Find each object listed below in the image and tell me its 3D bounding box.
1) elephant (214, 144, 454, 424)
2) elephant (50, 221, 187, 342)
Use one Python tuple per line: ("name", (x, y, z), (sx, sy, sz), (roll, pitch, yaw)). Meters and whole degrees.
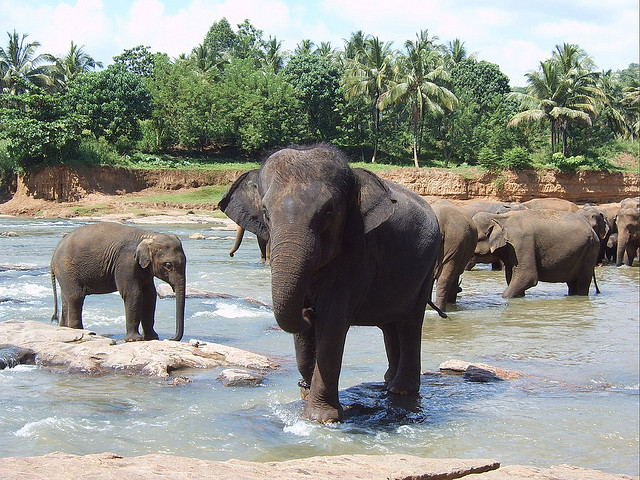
("elephant", (0.224, 0.396, 7.087), (0.929, 2.533, 1.999), (3, 4, 45))
("elephant", (-2.537, 0.531, 10.011), (1.883, 1.453, 0.650), (1, 3, 24))
